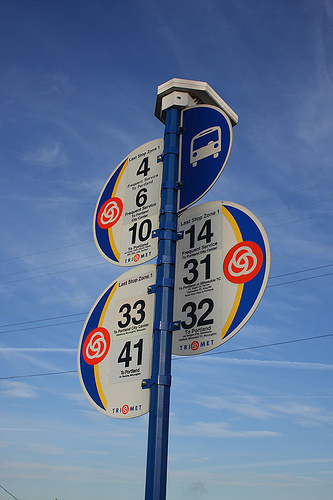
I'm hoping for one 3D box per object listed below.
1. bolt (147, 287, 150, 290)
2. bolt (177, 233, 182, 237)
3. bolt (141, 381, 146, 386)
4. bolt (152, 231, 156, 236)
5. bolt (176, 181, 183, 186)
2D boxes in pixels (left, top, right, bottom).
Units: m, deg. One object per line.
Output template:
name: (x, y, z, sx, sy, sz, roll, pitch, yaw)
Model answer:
bolt: (-0.204, 0.426, 5.976, 0.040, 0.048, 0.009, -7, -18, 33)
bolt: (0.147, -0.170, 6.138, 0.050, 0.044, 0.012, 0, -8, 11)
bolt: (-0.235, 1.325, 5.395, 0.021, 0.045, 0.068, 19, -28, -30)
bolt: (-0.147, -0.188, 6.212, 0.046, 0.057, 0.019, 0, -4, 8)
bolt: (0.160, -0.779, 6.386, 0.042, 0.021, 0.059, 5, -11, 37)
